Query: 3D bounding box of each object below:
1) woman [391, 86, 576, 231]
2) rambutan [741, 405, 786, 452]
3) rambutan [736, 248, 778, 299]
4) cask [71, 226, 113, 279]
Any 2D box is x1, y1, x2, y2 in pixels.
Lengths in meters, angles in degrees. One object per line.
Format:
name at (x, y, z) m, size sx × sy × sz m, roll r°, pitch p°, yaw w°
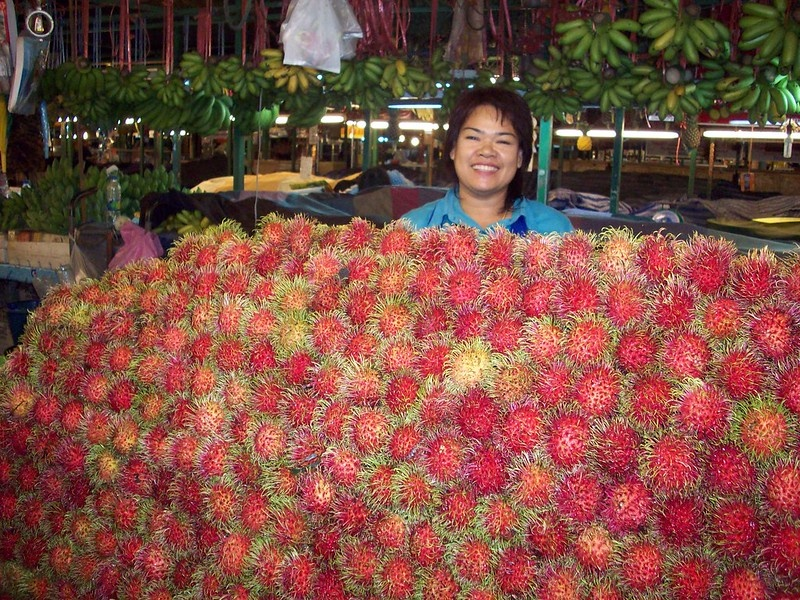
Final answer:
woman at (0.307, -0.484, 2.557) m, size 0.531 × 0.602 × 0.348 m, roll 2°, pitch 12°, yaw 11°
rambutan at (0.849, 0.303, 1.636) m, size 0.077 × 0.112 × 0.056 m, roll 11°, pitch -6°, yaw 21°
rambutan at (0.881, -0.070, 1.746) m, size 0.095 × 0.118 × 0.086 m, roll 6°, pitch 21°, yaw 15°
cask at (-2.077, -0.315, 4.755) m, size 0.245 × 0.512 × 0.321 m, roll 1°, pitch 0°, yaw -7°
